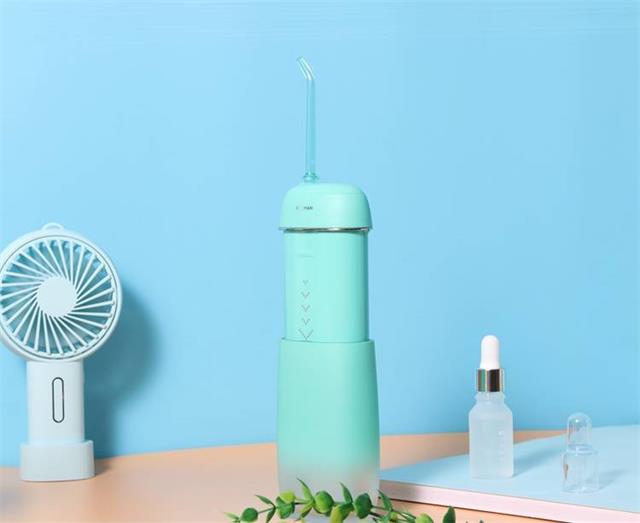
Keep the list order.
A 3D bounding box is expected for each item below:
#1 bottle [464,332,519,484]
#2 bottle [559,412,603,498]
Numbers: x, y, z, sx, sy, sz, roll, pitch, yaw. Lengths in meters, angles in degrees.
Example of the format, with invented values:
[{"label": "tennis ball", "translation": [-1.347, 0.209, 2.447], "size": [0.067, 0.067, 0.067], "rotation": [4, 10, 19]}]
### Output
[{"label": "bottle", "translation": [0.186, 0.159, 0.972], "size": [0.049, 0.150, 0.102], "rotation": [-4, -7, 10]}, {"label": "bottle", "translation": [0.270, 0.199, 0.915], "size": [0.048, 0.079, 0.048], "rotation": [1, -7, 0]}]
